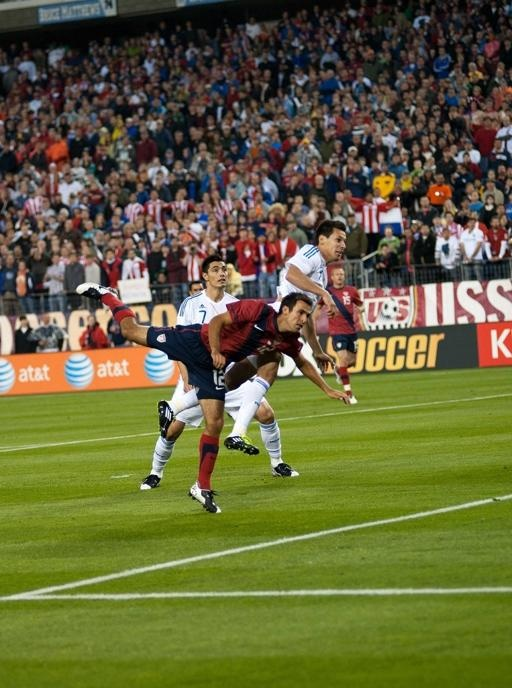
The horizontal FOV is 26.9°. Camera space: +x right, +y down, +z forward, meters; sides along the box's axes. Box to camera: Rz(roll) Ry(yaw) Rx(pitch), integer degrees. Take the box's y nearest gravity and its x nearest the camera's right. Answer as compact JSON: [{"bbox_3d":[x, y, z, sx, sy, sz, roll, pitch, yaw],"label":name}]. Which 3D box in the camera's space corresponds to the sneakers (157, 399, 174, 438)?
[{"bbox_3d":[-0.661,0.523,7.444,0.097,0.255,0.143,-1,-4,43],"label":"sneakers"}]

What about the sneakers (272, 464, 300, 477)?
[{"bbox_3d":[0.194,0.930,7.791,0.228,0.079,0.082,-1,0,28],"label":"sneakers"}]

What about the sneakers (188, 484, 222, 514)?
[{"bbox_3d":[-0.314,0.915,6.304,0.183,0.188,0.247,-1,4,-3],"label":"sneakers"}]
